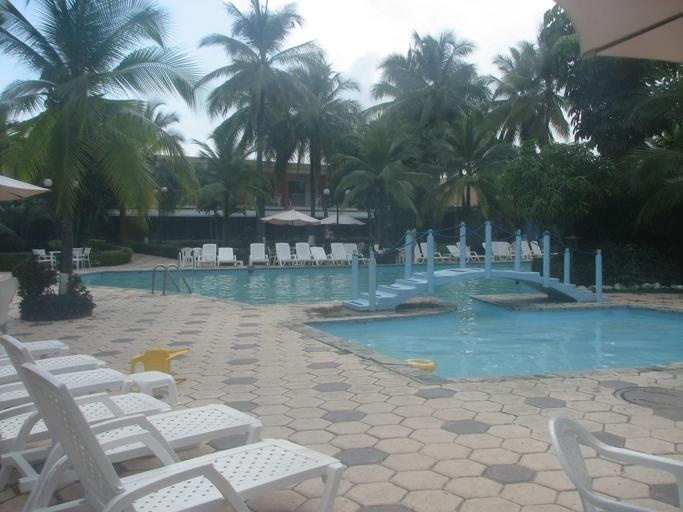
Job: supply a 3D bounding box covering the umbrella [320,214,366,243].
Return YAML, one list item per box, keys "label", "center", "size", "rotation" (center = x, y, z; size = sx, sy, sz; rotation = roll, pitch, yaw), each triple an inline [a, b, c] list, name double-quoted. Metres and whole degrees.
- label: "umbrella"
  center: [0.013, -1.576, 31.176]
  size: [2.595, 1.087, 2.288]
  rotation: [2, 7, 13]
